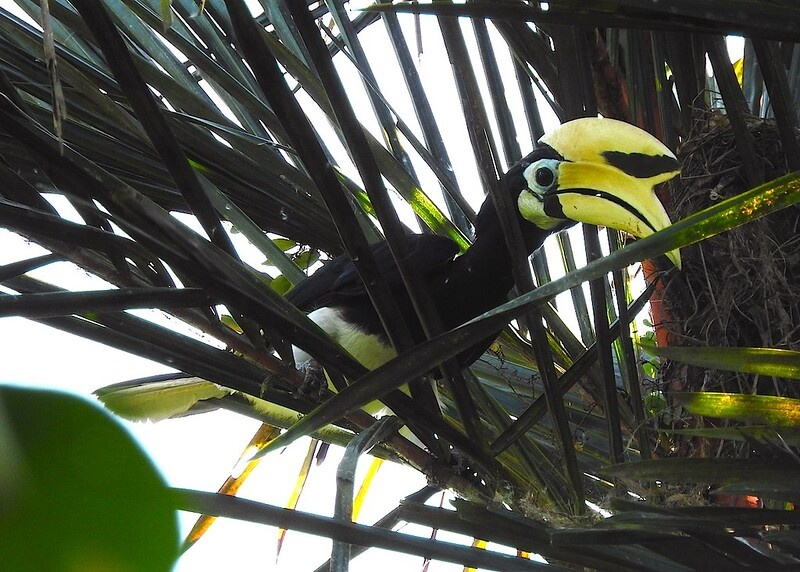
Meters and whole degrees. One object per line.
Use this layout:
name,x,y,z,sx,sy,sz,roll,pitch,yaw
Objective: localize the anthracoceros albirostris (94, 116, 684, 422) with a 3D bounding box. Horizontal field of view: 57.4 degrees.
anthracoceros albirostris,-0.017,-0.039,1.082,0.866,0.257,0.362,-8,-69,-13
